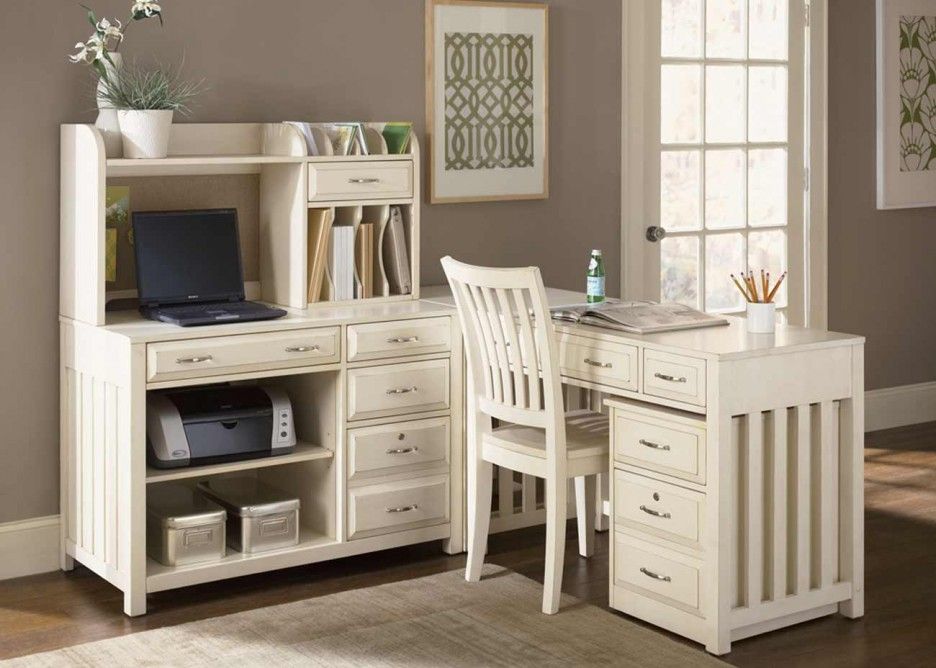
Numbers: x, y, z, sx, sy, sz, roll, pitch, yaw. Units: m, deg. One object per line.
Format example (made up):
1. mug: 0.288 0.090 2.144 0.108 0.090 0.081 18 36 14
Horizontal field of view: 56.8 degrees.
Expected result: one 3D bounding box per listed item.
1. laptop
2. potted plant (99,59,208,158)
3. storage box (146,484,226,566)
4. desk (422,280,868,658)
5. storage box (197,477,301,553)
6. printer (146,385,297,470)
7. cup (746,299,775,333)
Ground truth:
1. laptop: -1.025 -0.270 3.370 0.499 0.436 0.529 -5 10 -41
2. potted plant: -1.226 -0.805 3.286 0.376 0.282 0.430 7 6 44
3. storage box: -1.075 0.719 3.218 0.182 0.133 0.351 -1 4 -29
4. desk: 0.673 0.474 3.423 0.771 0.930 1.497 -3 4 -31
5. storage box: -0.843 0.671 3.332 0.206 0.145 0.391 -4 12 -36
6. printer: -0.888 0.336 3.110 0.397 0.183 0.307 -3 4 -33
7. cup: 0.974 -0.051 2.878 0.099 0.102 0.109 0 2 2
